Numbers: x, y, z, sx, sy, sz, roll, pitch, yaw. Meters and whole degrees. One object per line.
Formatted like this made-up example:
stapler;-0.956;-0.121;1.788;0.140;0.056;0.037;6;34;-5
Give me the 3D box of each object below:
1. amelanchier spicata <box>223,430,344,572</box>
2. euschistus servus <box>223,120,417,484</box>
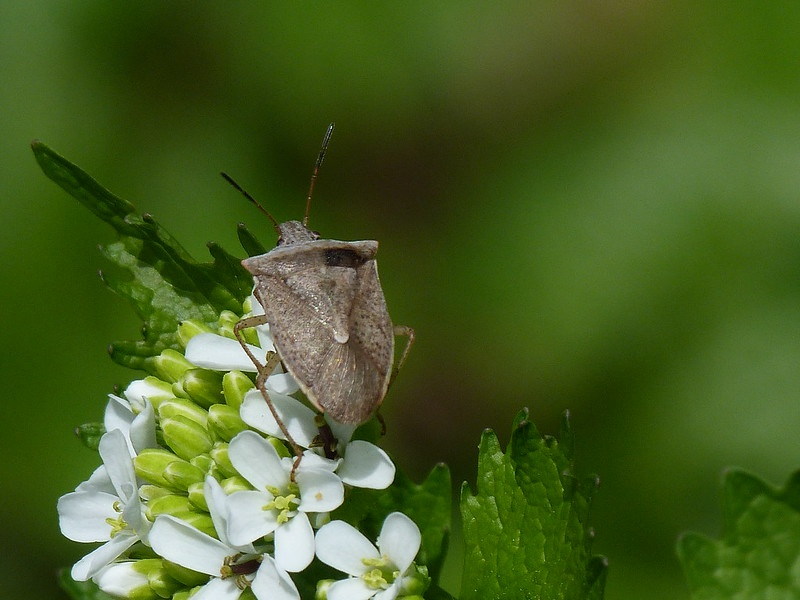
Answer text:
amelanchier spicata;-0.702;1.226;5.192;0.684;0.781;0.250;2;-16;-9
euschistus servus;-0.579;-0.070;6.035;1.212;2.296;0.639;-3;-36;-26
